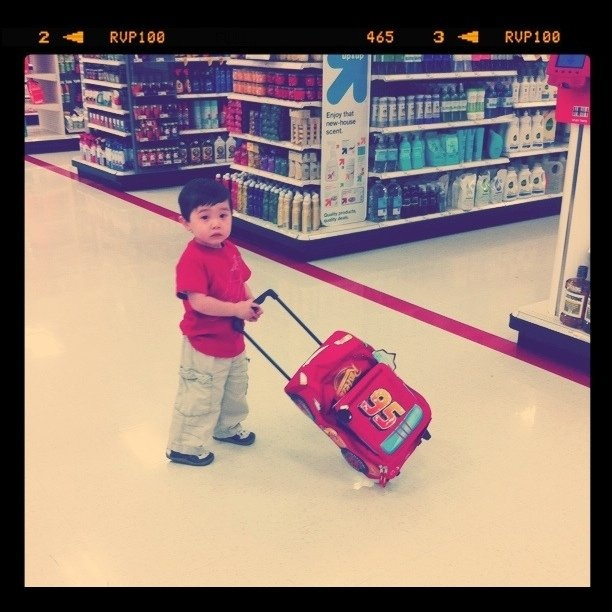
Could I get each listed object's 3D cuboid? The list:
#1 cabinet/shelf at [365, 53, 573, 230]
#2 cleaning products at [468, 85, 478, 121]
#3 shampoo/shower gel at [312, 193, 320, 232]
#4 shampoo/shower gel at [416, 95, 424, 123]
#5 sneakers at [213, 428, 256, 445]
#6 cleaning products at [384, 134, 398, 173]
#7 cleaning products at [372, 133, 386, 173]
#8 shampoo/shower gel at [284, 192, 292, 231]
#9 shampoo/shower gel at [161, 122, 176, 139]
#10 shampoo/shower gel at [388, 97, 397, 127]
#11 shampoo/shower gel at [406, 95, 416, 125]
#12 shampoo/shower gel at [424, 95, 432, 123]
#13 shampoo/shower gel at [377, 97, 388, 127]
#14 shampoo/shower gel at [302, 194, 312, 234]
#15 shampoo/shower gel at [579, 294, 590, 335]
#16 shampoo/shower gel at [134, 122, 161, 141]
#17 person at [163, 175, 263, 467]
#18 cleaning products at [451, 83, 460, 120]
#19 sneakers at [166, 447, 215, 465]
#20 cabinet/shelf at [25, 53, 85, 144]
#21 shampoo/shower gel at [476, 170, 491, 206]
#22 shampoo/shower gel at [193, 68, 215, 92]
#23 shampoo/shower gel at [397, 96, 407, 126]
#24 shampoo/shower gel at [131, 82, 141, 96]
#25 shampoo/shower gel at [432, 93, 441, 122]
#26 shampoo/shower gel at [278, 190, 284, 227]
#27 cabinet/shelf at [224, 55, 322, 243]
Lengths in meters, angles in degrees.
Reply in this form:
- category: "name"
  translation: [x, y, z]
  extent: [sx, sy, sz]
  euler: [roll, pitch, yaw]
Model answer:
- category: "cabinet/shelf"
  translation: [1.541, -1.642, 5.633]
  extent: [1.902, 1.874, 0.704]
  euler: [-13, 25, -26]
- category: "cleaning products"
  translation: [1.738, -2.076, 5.874]
  extent: [0.129, 0.278, 0.202]
  euler: [-6, -14, 16]
- category: "shampoo/shower gel"
  translation: [0.090, -0.853, 5.170]
  extent: [0.087, 0.331, 0.156]
  euler: [-2, -14, 0]
- category: "shampoo/shower gel"
  translation: [1.105, -1.898, 5.460]
  extent: [0.098, 0.254, 0.175]
  euler: [-5, -14, 11]
- category: "sneakers"
  translation: [-0.334, 0.610, 2.623]
  extent: [0.141, 0.058, 0.078]
  euler: [-2, 37, -2]
- category: "cleaning products"
  translation: [0.821, -1.468, 5.441]
  extent: [0.162, 0.369, 0.119]
  euler: [3, -15, -22]
- category: "cleaning products"
  translation: [0.691, -1.449, 5.372]
  extent: [0.157, 0.388, 0.159]
  euler: [-4, -14, 8]
- category: "shampoo/shower gel"
  translation: [-0.157, -0.879, 5.224]
  extent: [0.081, 0.315, 0.174]
  euler: [-1, -14, -4]
- category: "shampoo/shower gel"
  translation: [-1.872, -2.386, 7.663]
  extent: [0.085, 0.158, 0.163]
  euler: [18, 27, 36]
- category: "shampoo/shower gel"
  translation: [0.806, -1.783, 5.237]
  extent: [0.091, 0.235, 0.159]
  euler: [-5, -14, 10]
- category: "shampoo/shower gel"
  translation: [1.008, -1.861, 5.402]
  extent: [0.096, 0.269, 0.200]
  euler: [-5, -14, 11]
- category: "shampoo/shower gel"
  translation: [1.202, -1.921, 5.524]
  extent: [0.094, 0.233, 0.141]
  euler: [-5, -14, 10]
- category: "shampoo/shower gel"
  translation: [0.710, -1.758, 5.175]
  extent: [0.098, 0.243, 0.145]
  euler: [-4, -14, 9]
- category: "shampoo/shower gel"
  translation: [0.007, -0.832, 5.130]
  extent: [0.105, 0.351, 0.177]
  euler: [-2, -14, 0]
- category: "shampoo/shower gel"
  translation: [1.630, 0.059, 3.281]
  extent: [0.036, 0.207, 0.134]
  euler: [-5, -14, 13]
- category: "shampoo/shower gel"
  translation: [-2.128, -2.321, 7.507]
  extent: [0.208, 0.196, 0.119]
  euler: [9, 42, 9]
- category: "person"
  translation: [-0.369, 0.119, 2.375]
  extent: [0.409, 1.075, 0.775]
  euler: [1, -14, -14]
- category: "cleaning products"
  translation: [1.499, -2.041, 5.680]
  extent: [0.095, 0.341, 0.144]
  euler: [-2, -14, 1]
- category: "sneakers"
  translation: [-0.499, 0.669, 2.457]
  extent: [0.182, 0.083, 0.081]
  euler: [2, 28, -3]
- category: "cabinet/shelf"
  translation: [-4.480, -3.799, 10.096]
  extent: [0.707, 1.296, 0.455]
  euler: [-4, 20, -35]
- category: "shampoo/shower gel"
  translation: [1.946, -1.286, 6.192]
  extent: [0.137, 0.364, 0.277]
  euler: [16, 26, 41]
- category: "shampoo/shower gel"
  translation: [-1.434, -3.141, 7.925]
  extent: [0.322, 0.322, 0.080]
  euler: [-7, 9, -37]
- category: "shampoo/shower gel"
  translation: [0.908, -1.831, 5.323]
  extent: [0.094, 0.262, 0.194]
  euler: [-4, -14, 10]
- category: "shampoo/shower gel"
  translation: [-2.219, -2.809, 7.336]
  extent: [0.139, 0.202, 0.104]
  euler: [0, 27, -12]
- category: "shampoo/shower gel"
  translation: [1.291, -1.946, 5.576]
  extent: [0.095, 0.236, 0.162]
  euler: [-5, -14, 10]
- category: "shampoo/shower gel"
  translation: [-0.228, -0.896, 5.269]
  extent: [0.054, 0.319, 0.178]
  euler: [0, -14, -8]
- category: "cabinet/shelf"
  translation: [-0.296, -1.655, 5.702]
  extent: [0.556, 1.608, 1.614]
  euler: [-16, 27, -35]
